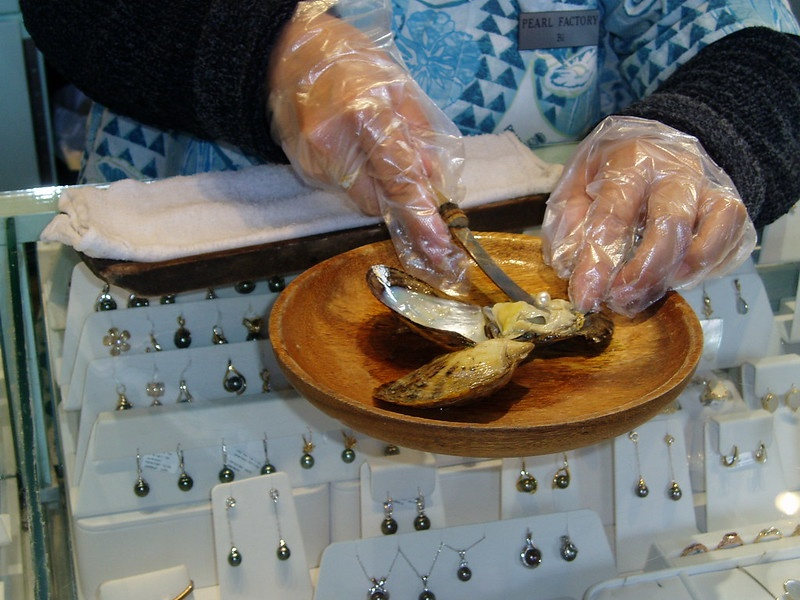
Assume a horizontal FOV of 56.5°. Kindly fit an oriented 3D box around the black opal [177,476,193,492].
[{"bbox_3d":[-0.248,0.208,0.855,0.017,0.011,0.019,9,75,0],"label":"black opal"}]

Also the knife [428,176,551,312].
[{"bbox_3d":[0.067,-0.069,0.895,0.043,0.034,0.304,-9,43,-30],"label":"knife"}]

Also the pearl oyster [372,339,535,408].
[{"bbox_3d":[0.055,0.078,0.725,0.164,0.083,0.051,-20,77,-8],"label":"pearl oyster"}]

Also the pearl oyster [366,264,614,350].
[{"bbox_3d":[0.076,0.007,0.826,0.287,0.101,0.088,6,98,7],"label":"pearl oyster"}]

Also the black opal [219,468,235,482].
[{"bbox_3d":[-0.203,0.203,0.863,0.017,0.017,0.022,-9,57,-6],"label":"black opal"}]

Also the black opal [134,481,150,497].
[{"bbox_3d":[-0.295,0.211,0.839,0.015,0.009,0.017,-8,94,-18],"label":"black opal"}]

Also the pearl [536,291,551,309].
[{"bbox_3d":[0.148,0.003,0.796,0.016,0.016,0.018,-3,105,1],"label":"pearl"}]

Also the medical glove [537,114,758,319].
[{"bbox_3d":[0.318,-0.113,0.964,0.191,0.228,0.301,-14,31,-36],"label":"medical glove"}]

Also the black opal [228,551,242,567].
[{"bbox_3d":[-0.194,0.296,0.862,0.015,0.009,0.017,-5,86,-9],"label":"black opal"}]
